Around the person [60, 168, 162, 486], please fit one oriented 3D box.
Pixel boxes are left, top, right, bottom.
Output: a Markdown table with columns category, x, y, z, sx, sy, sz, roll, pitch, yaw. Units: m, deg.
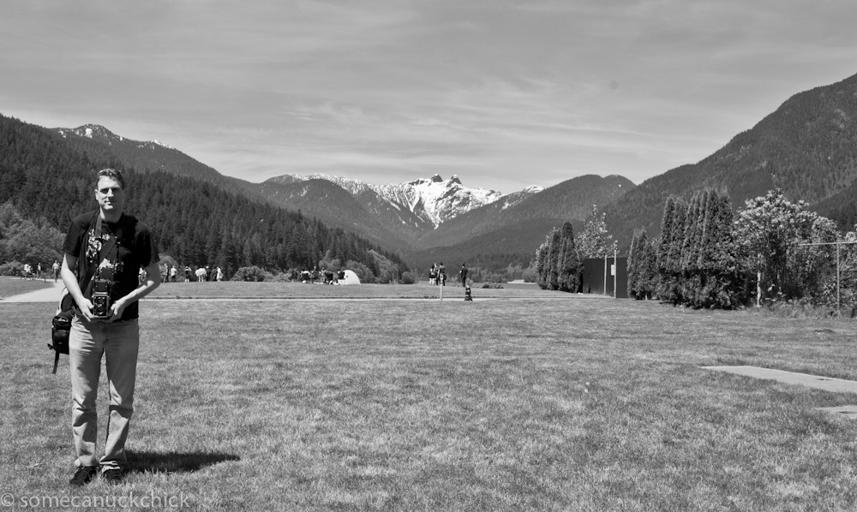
| category | x | y | z | sx | sy | sz | roll | pitch | yaw |
| --- | --- | --- | --- | --- | --- | --- | --- | --- | --- |
| person | -4.866 | 1.021 | 11.411 | 1.293 | 4.616 | 0.885 | -4 | 9 | -28 |

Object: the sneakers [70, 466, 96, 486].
| category | x | y | z | sx | sy | sz | roll | pitch | yaw |
| --- | --- | --- | --- | --- | --- | --- | --- | --- | --- |
| sneakers | -5.196 | 3.278 | 11.264 | 0.354 | 0.198 | 0.269 | -2 | 8 | -13 |
